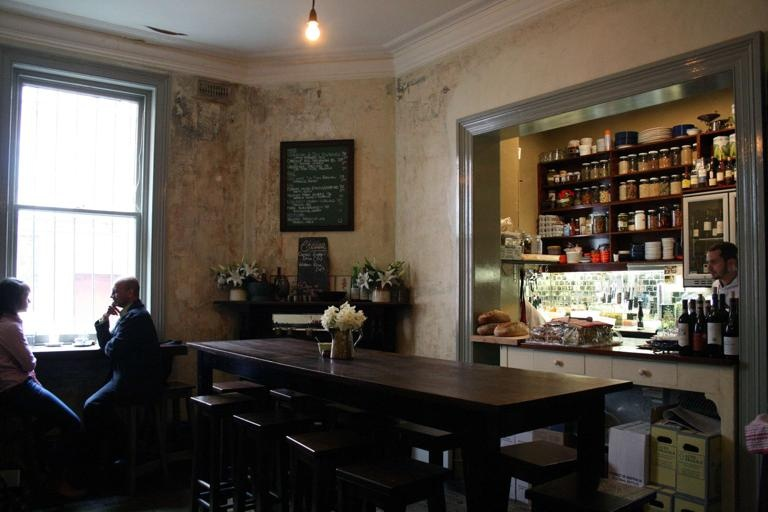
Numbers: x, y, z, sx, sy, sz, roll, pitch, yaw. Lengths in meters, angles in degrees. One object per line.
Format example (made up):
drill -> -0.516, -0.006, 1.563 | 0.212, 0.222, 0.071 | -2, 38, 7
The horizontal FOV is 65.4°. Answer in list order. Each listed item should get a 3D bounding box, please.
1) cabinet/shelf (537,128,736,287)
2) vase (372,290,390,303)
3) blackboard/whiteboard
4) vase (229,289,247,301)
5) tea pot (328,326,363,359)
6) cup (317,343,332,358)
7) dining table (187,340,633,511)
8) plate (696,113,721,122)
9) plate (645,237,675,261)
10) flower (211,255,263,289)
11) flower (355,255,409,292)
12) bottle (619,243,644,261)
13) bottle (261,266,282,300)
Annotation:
cabinet/shelf -> 3.335, -0.575, 7.753 | 0.705, 1.412, 2.411 | 3, -3, -41
vase -> -0.024, 0.468, 6.847 | 0.156, 0.087, 0.150 | 1, -6, -4
blackboard/whiteboard -> -0.776, -0.822, 7.253 | 1.210, 1.308, 0.090 | 0, 0, 8
vase -> -1.726, 0.473, 7.065 | 0.157, 0.108, 0.152 | 3, -6, -16
tea pot -> -0.313, 0.708, 4.917 | 0.343, 0.257, 0.238 | 3, -4, -37
cup -> -0.479, 0.770, 4.870 | 0.117, 0.084, 0.113 | 1, -1, 0
dining table -> 0.139, 1.168, 4.525 | 2.858, 0.760, 1.138 | 1, 4, 38
plate -> 4.101, -1.728, 7.537 | 0.243, 0.135, 0.331 | 1, 3, 29
plate -> 3.545, -0.075, 7.680 | 0.267, 0.241, 0.325 | 9, -7, -35
flower -> -1.737, 0.212, 7.112 | 0.584, 0.346, 0.305 | -2, 3, -14
flower -> -0.067, 0.223, 6.959 | 0.428, 0.225, 0.435 | -7, -10, 43
bottle -> 3.319, -0.034, 7.988 | 0.274, 0.174, 0.273 | 2, 0, 0
bottle -> -1.320, 0.338, 7.127 | 0.208, 0.382, 0.272 | -2, 3, -11
